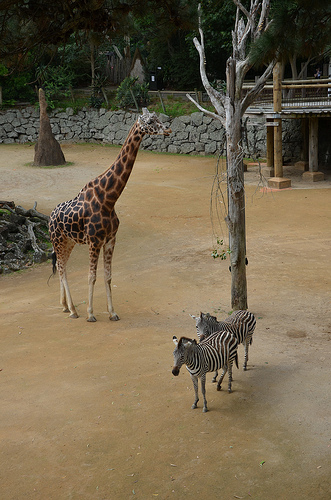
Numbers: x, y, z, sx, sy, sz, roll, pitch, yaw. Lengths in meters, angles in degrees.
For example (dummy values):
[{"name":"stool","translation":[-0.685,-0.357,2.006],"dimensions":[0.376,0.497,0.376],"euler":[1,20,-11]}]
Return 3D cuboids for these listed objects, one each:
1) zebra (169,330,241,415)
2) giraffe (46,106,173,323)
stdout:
[{"name":"zebra","translation":[0.437,1.191,5.109],"dimensions":[0.292,0.815,1.044],"euler":[6,14,45]},{"name":"giraffe","translation":[-1.040,-0.559,8.080],"dimensions":[2.024,3.243,0.998],"euler":[-3,11,3]}]
